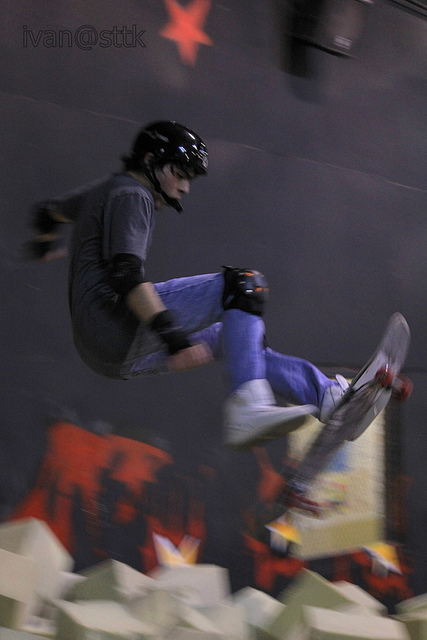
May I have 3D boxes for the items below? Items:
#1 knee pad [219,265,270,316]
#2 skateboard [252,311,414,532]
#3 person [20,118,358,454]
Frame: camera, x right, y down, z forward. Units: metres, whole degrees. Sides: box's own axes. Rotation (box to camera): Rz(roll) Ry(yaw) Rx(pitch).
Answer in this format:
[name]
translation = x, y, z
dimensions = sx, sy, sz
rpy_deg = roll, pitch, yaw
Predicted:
[knee pad]
translation = 0.077, -0.074, 1.671
dimensions = 0.143, 0.104, 0.108
rpy_deg = 3, 7, 38
[skateboard]
translation = 0.284, 0.262, 1.702
dimensions = 0.680, 0.182, 0.189
rpy_deg = -43, 43, -6
[person]
translation = -0.176, -0.026, 1.910
dimensions = 0.873, 0.778, 1.071
rpy_deg = -2, 10, -29
